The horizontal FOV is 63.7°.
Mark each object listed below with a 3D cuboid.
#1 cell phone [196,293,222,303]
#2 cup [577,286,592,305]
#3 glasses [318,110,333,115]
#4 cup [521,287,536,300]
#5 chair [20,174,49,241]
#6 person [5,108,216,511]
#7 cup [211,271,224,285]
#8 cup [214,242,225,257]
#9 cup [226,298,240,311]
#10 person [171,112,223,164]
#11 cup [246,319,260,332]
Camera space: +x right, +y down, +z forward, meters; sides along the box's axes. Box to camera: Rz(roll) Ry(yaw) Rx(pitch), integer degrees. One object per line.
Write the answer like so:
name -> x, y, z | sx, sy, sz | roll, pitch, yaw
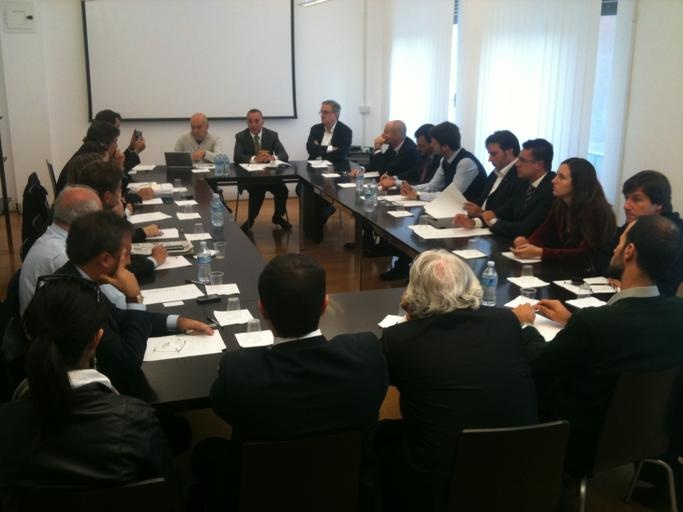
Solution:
cell phone -> -0.699, 0.227, 2.886 | 0.094, 0.025, 0.052 | -7, 16, -25
cup -> 1.264, 0.208, 2.902 | 0.068, 0.126, 0.071 | -1, 8, 0
glasses -> -0.206, -1.842, 7.045 | 0.211, 0.074, 0.107 | 11, 17, 37
cup -> 0.988, 0.193, 2.909 | 0.062, 0.055, 0.069 | 0, 6, 0
chair -> -2.474, -0.386, 4.521 | 0.214, 0.537, 0.176 | -16, 23, -41
person -> -0.915, 0.271, 2.093 | 0.564, 0.719, 1.111 | -2, 14, -10
cup -> -0.701, 0.121, 3.077 | 0.060, 0.053, 0.067 | 0, 7, -2
cup -> -0.780, -0.043, 3.561 | 0.082, 0.091, 0.088 | -1, 7, 0
cup -> -0.545, 0.230, 2.745 | 0.063, 0.072, 0.064 | 0, 10, 0
person -> -1.778, -1.431, 6.975 | 0.683, 0.880, 0.623 | -1, 10, -4
cup -> -0.415, 0.317, 2.557 | 0.054, 0.071, 0.052 | 1, 13, 0
